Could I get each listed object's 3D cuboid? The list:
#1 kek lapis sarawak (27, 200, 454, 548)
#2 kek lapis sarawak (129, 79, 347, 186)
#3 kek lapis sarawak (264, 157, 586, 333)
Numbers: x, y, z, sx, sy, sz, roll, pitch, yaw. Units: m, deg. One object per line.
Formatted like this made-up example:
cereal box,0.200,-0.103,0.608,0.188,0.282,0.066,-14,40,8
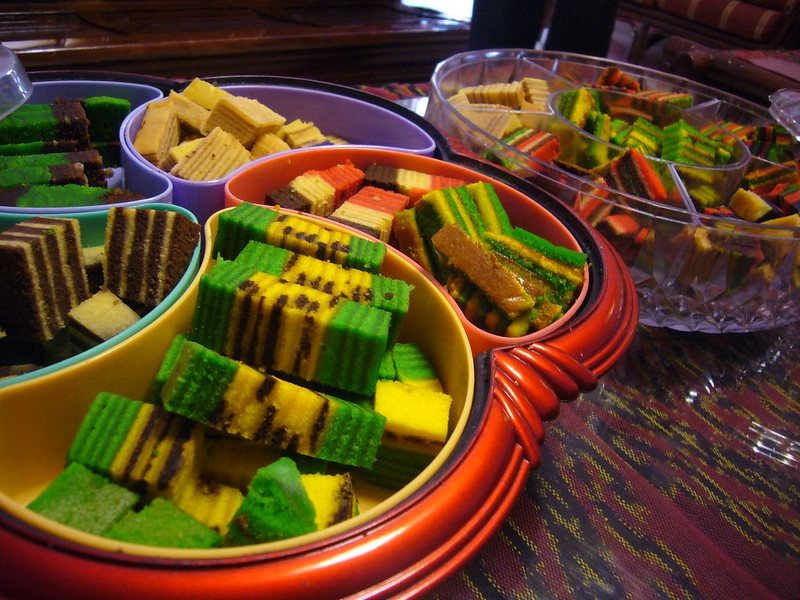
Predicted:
kek lapis sarawak,-0.275,0.196,1.171,0.457,0.259,0.711,18,34,-7
kek lapis sarawak,-0.505,-0.467,1.722,0.399,0.143,0.338,-14,57,-41
kek lapis sarawak,0.069,-0.114,1.483,0.615,0.247,0.395,30,22,6
